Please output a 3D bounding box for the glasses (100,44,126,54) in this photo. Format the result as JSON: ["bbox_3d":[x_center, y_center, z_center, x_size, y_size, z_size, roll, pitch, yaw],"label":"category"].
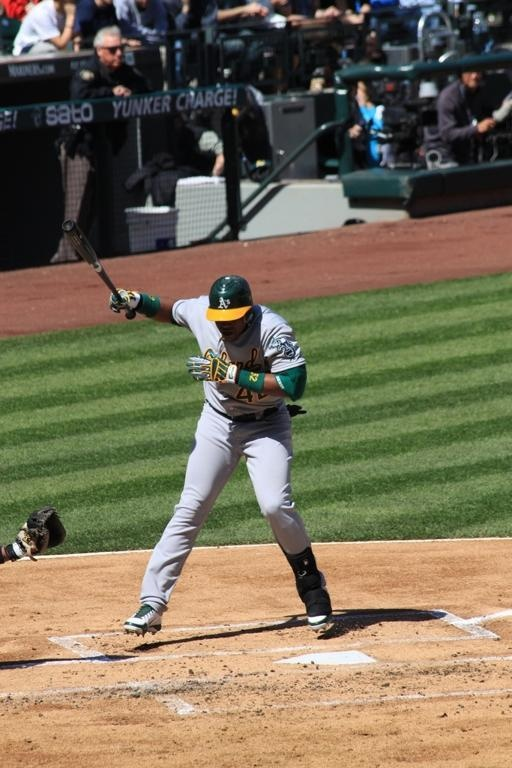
[{"bbox_3d":[-1.143,-2.672,10.400,0.163,0.067,0.189,-11,19,-30],"label":"glasses"}]

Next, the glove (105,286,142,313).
[{"bbox_3d":[-0.519,-0.340,5.357,0.118,0.111,0.059,8,18,22],"label":"glove"}]

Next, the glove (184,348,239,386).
[{"bbox_3d":[-0.161,-0.054,4.901,0.168,0.101,0.052,4,-2,13],"label":"glove"}]

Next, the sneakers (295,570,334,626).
[{"bbox_3d":[0.228,0.869,5.203,0.093,0.270,0.129,-6,-30,3],"label":"sneakers"}]

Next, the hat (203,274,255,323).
[{"bbox_3d":[-0.099,-0.318,4.934,0.145,0.110,0.193,-3,38,16],"label":"hat"}]

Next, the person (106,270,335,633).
[{"bbox_3d":[-0.116,0.308,5.169,0.792,1.467,0.599,-2,10,3],"label":"person"}]
